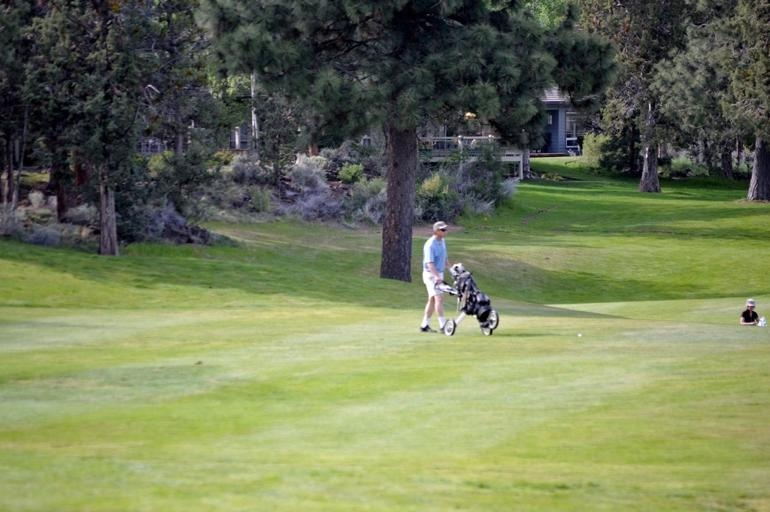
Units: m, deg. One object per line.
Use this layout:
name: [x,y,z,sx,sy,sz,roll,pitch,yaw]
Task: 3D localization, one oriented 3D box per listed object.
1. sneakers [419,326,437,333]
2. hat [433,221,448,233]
sneakers: [1.239,2.126,37.555,0.461,0.242,0.144,0,3,-6]
hat: [1.530,-0.794,37.063,0.344,0.204,0.442,-3,1,-29]
